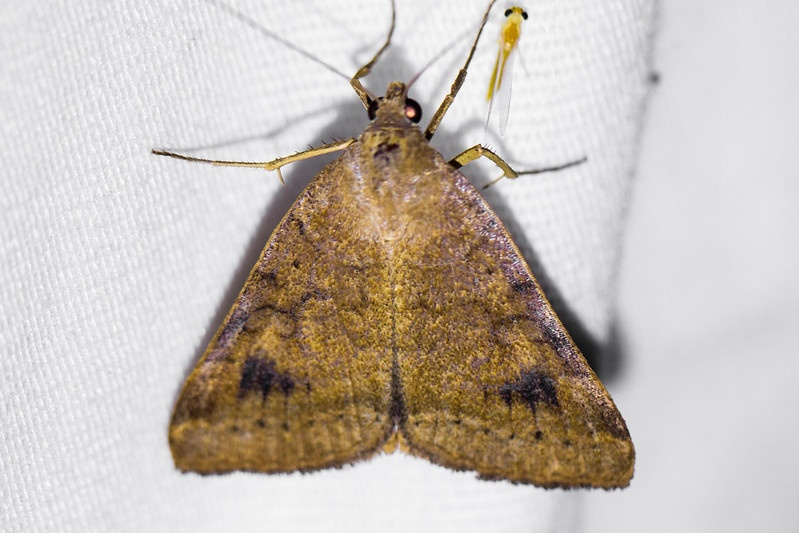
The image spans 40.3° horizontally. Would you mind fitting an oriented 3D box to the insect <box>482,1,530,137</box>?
[{"bbox_3d":[0.320,-0.605,3.382,0.100,0.387,0.117,7,-1,-4],"label":"insect"}]
